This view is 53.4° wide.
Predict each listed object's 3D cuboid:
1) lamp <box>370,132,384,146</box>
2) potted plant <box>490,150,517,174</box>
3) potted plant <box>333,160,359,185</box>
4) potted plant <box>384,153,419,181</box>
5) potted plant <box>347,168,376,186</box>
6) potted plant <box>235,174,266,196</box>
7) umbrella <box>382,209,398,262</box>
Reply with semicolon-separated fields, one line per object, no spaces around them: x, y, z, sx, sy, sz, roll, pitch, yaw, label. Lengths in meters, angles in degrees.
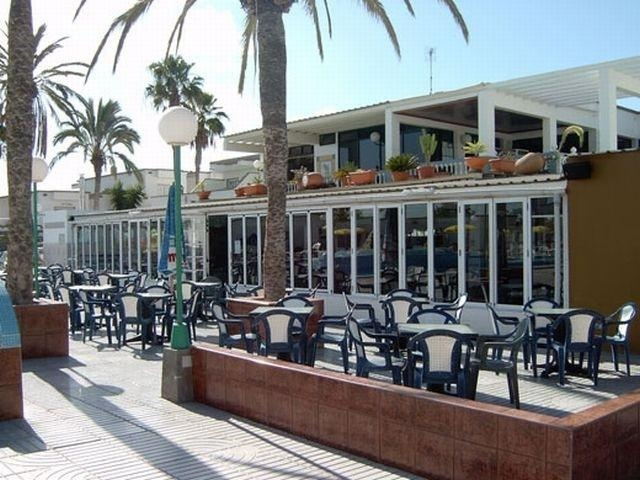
1.882;-3.495;21.771;0.468;0.428;0.229;4;11;44;lamp
4.118;-1.730;14.297;0.556;0.506;0.593;-2;8;15;potted plant
0.813;-1.957;18.627;0.714;0.791;0.758;2;-2;-31;potted plant
2.117;-1.891;16.772;0.719;0.587;0.752;1;1;4;potted plant
1.104;-1.695;17.175;0.827;0.395;0.723;0;9;26;potted plant
-2.131;-1.801;20.335;0.710;0.470;1.100;-8;7;9;potted plant
1.725;-0.115;15.478;0.201;1.334;0.458;-12;11;-43;umbrella
